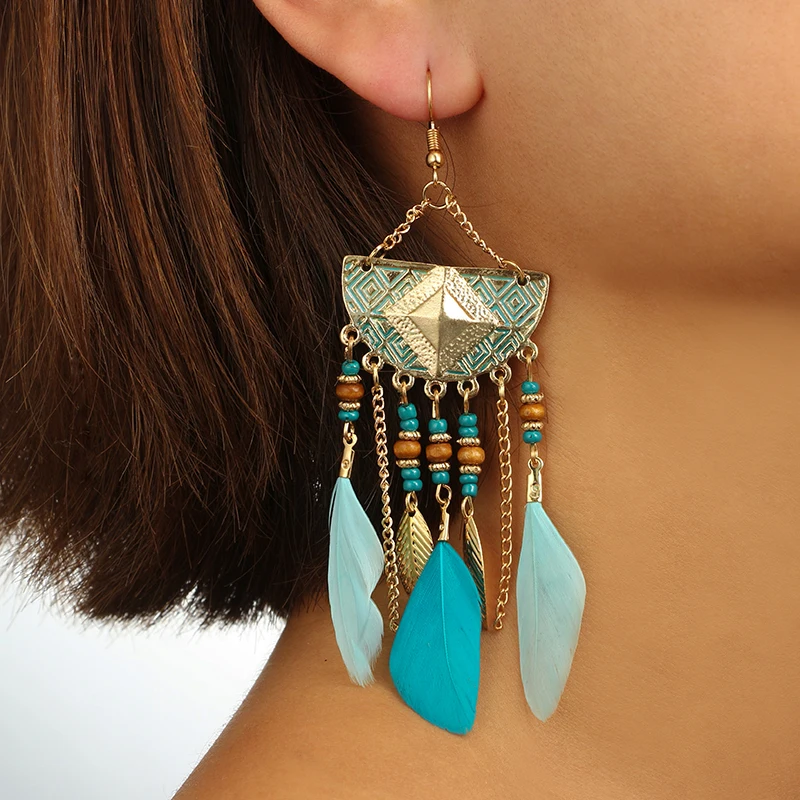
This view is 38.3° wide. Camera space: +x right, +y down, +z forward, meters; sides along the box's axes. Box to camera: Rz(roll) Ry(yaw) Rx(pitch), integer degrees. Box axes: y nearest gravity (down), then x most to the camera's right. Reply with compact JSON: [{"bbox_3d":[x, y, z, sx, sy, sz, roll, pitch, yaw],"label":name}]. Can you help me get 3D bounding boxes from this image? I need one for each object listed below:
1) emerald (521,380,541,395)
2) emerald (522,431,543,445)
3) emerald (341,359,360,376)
[{"bbox_3d":[0.140,-0.013,1.232,0.013,0.013,0.015,0,-6,-3],"label":"emerald"},{"bbox_3d":[0.142,0.038,1.235,0.013,0.017,0.016,-1,-1,-3],"label":"emerald"},{"bbox_3d":[-0.055,-0.038,1.286,0.015,0.019,0.015,-1,20,1],"label":"emerald"}]
